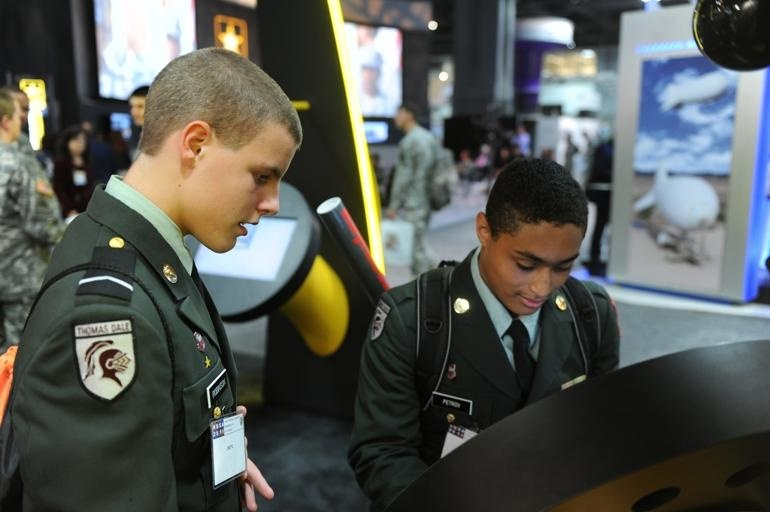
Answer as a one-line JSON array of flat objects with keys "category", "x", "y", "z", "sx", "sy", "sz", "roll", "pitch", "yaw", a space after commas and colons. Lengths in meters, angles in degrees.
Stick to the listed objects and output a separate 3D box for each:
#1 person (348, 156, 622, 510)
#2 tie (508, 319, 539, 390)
[{"category": "person", "x": 0.239, "y": 0.166, "z": 1.812, "sx": 0.694, "sy": 0.812, "sz": 0.341, "roll": -6, "pitch": 16, "yaw": -21}, {"category": "tie", "x": 0.339, "y": 0.246, "z": 1.780, "sx": 0.043, "sy": 0.208, "sz": 0.051, "roll": -5, "pitch": -17, "yaw": 3}]
